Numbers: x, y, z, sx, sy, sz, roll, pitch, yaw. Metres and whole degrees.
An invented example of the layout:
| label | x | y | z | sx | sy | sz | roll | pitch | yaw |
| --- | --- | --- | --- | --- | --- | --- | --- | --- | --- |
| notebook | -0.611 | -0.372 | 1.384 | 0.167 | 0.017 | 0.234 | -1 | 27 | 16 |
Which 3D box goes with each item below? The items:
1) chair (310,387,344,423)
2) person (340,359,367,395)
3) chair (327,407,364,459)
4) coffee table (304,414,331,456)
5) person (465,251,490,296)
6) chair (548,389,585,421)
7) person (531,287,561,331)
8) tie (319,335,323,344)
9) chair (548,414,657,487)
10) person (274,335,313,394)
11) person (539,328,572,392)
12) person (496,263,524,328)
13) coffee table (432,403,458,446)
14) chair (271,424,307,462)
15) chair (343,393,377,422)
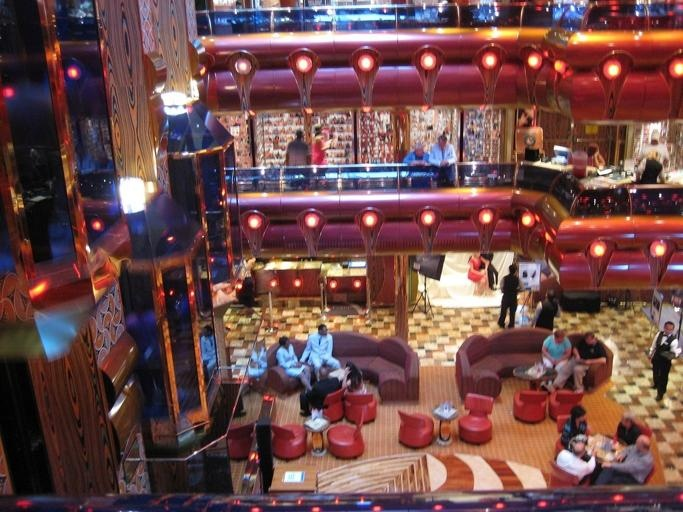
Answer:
| label | x | y | z | sx | sy | sz | roll | pitch | yaw |
| --- | --- | --- | --- | --- | --- | --- | --- | --- | --- |
| chair | -0.220 | 2.694 | 9.607 | 0.499 | 0.505 | 0.588 | -12 | -58 | -22 |
| person | 0.246 | 2.345 | 10.133 | 0.477 | 1.147 | 0.412 | 1 | 11 | 3 |
| chair | 0.065 | 2.989 | 8.961 | 0.551 | 0.722 | 0.600 | 3 | 16 | 9 |
| coffee table | -0.309 | 3.031 | 9.063 | 0.535 | 0.506 | 0.715 | -2 | -59 | -1 |
| person | 3.684 | 0.498 | 14.179 | 0.558 | 0.982 | 0.618 | -5 | -21 | 14 |
| chair | 4.034 | 2.646 | 9.633 | 0.483 | 0.530 | 0.613 | 0 | -60 | 4 |
| person | 4.587 | 1.248 | 11.965 | 0.543 | 1.104 | 0.863 | -15 | -26 | 37 |
| tie | -0.415 | 1.695 | 10.850 | 0.091 | 0.193 | 0.136 | -3 | 19 | 1 |
| chair | 3.791 | 2.854 | 7.799 | 1.120 | 1.268 | 0.977 | 3 | -55 | 9 |
| person | -0.961 | 2.227 | 10.637 | 0.705 | 0.463 | 1.375 | 0 | -64 | 15 |
| person | 4.149 | 1.984 | 10.214 | 0.528 | 0.888 | 1.421 | 1 | 18 | 23 |
| person | 4.020 | 0.992 | 12.737 | 0.477 | 1.502 | 1.431 | -3 | -21 | 10 |
| coffee table | 1.858 | 2.941 | 9.313 | 0.448 | 0.697 | 0.901 | -4 | -22 | 11 |
| chair | -0.876 | 3.108 | 8.903 | 0.606 | 0.582 | 0.543 | 3 | -21 | -6 |
| chair | 0.357 | 2.742 | 9.569 | 0.455 | 0.581 | 0.560 | 3 | 21 | 6 |
